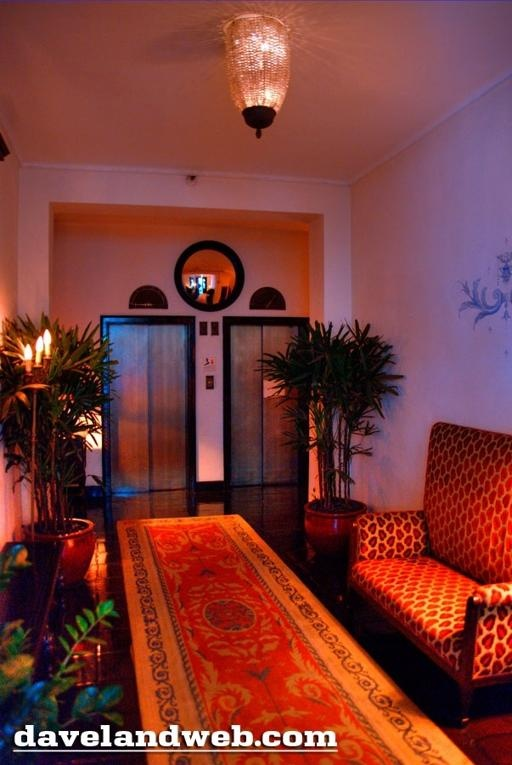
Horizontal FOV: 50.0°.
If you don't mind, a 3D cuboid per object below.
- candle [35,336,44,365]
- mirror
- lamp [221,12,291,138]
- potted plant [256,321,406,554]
[{"bbox_3d":[-1.188,-0.174,3.004,0.042,0.164,0.137,0,0,-23],"label":"candle"},{"bbox_3d":[-0.565,-1.235,6.538,0.855,0.956,0.052,0,36,-7],"label":"mirror"},{"bbox_3d":[-0.004,-1.374,2.482,0.305,0.387,0.202,0,0,0],"label":"lamp"},{"bbox_3d":[0.569,0.489,4.306,0.860,1.754,0.911,1,-4,-12],"label":"potted plant"}]
